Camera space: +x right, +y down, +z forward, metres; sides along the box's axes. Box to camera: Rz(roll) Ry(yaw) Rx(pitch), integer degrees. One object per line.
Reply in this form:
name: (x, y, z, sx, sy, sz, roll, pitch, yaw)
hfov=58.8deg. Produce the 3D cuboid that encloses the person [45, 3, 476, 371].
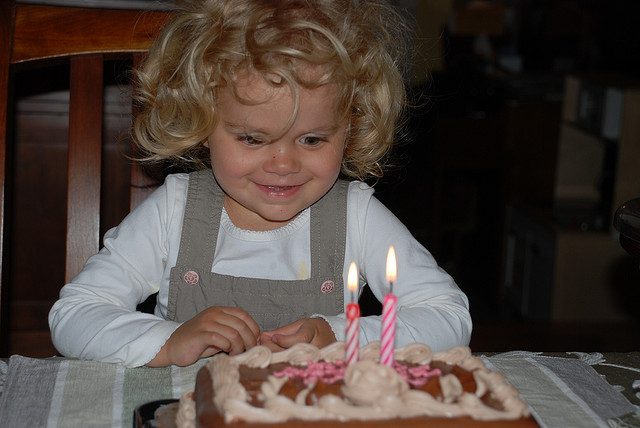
person: (-0.154, -0.096, 1.353, 0.963, 0.798, 0.700, -3, 18, -16)
